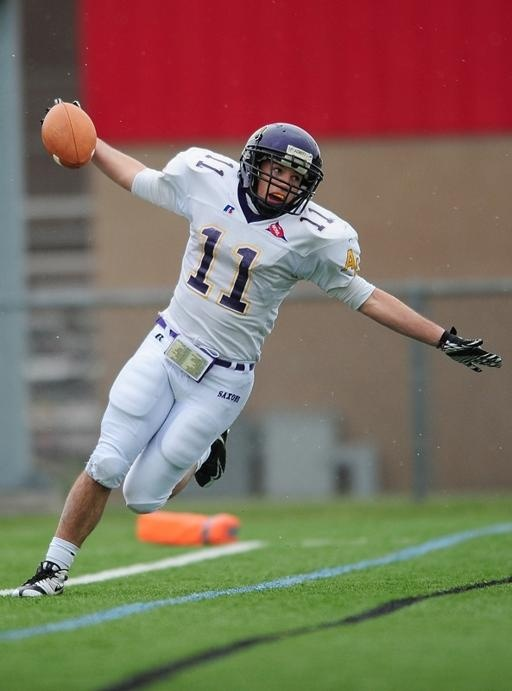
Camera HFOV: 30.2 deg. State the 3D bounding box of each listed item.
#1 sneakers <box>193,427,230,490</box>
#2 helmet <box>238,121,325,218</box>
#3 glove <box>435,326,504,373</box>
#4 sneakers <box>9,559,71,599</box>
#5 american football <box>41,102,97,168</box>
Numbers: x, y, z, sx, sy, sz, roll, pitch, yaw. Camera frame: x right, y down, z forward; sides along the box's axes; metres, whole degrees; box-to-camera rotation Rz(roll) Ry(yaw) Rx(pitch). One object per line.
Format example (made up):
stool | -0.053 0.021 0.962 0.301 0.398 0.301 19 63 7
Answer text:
sneakers | -0.165 0.437 3.662 0.116 0.204 0.266 4 4 9
helmet | 0.075 -0.569 3.031 0.261 0.290 0.206 -10 18 -15
glove | 0.965 0.016 4.229 0.307 0.161 0.088 18 27 -25
sneakers | -0.662 0.717 2.934 0.072 0.078 0.197 19 3 22
american football | -0.628 -0.701 3.159 0.212 0.204 0.242 -2 10 -17
